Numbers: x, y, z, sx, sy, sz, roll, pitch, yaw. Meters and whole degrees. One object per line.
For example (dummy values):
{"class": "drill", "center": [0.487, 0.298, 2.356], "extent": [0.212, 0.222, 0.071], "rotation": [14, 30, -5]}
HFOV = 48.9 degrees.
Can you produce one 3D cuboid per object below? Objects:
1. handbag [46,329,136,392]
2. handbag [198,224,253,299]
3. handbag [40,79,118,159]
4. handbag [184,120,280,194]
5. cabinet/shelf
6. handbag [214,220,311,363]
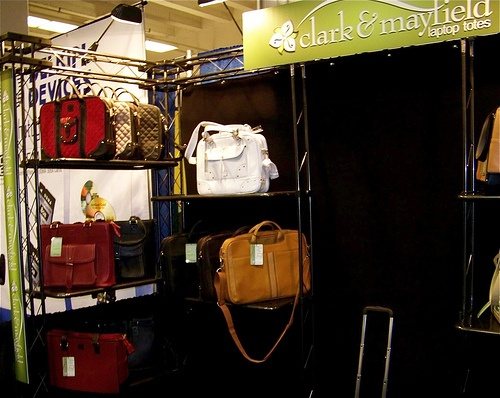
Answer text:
{"class": "handbag", "center": [-1.168, 1.173, 3.953], "extent": [0.394, 0.323, 0.164], "rotation": [2, 0, 10]}
{"class": "handbag", "center": [-0.169, 0.458, 3.821], "extent": [0.242, 0.475, 0.449], "rotation": [0, 2, 44]}
{"class": "handbag", "center": [-1.193, -0.552, 3.888], "extent": [0.617, 0.687, 0.270], "rotation": [-2, -3, 16]}
{"class": "handbag", "center": [-0.091, -0.313, 4.022], "extent": [0.768, 0.733, 0.440], "rotation": [-1, 3, 33]}
{"class": "cabinet/shelf", "center": [0.613, 0.239, 3.916], "extent": [2.101, 2.540, 0.745], "rotation": [0, 6, 16]}
{"class": "handbag", "center": [0.101, 0.669, 3.887], "extent": [0.661, 1.030, 0.385], "rotation": [-1, 6, 6]}
